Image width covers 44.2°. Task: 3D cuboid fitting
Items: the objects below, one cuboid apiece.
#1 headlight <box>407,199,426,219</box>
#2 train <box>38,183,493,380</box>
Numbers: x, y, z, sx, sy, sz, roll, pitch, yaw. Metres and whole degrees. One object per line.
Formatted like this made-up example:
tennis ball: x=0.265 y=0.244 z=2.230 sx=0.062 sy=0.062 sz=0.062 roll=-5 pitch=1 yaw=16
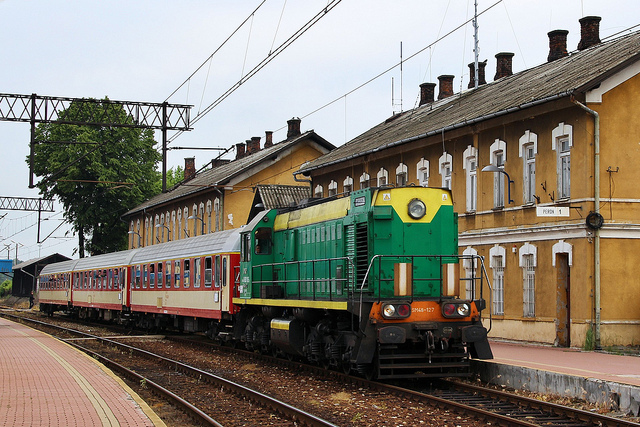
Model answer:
headlight: x=2.818 y=-0.137 z=22.762 sx=0.517 sy=0.513 sz=0.122 roll=-5 pitch=3 yaw=-17
train: x=-5.334 y=2.850 z=38.297 sx=6.636 sy=6.473 sz=37.861 roll=2 pitch=-4 yaw=-25
